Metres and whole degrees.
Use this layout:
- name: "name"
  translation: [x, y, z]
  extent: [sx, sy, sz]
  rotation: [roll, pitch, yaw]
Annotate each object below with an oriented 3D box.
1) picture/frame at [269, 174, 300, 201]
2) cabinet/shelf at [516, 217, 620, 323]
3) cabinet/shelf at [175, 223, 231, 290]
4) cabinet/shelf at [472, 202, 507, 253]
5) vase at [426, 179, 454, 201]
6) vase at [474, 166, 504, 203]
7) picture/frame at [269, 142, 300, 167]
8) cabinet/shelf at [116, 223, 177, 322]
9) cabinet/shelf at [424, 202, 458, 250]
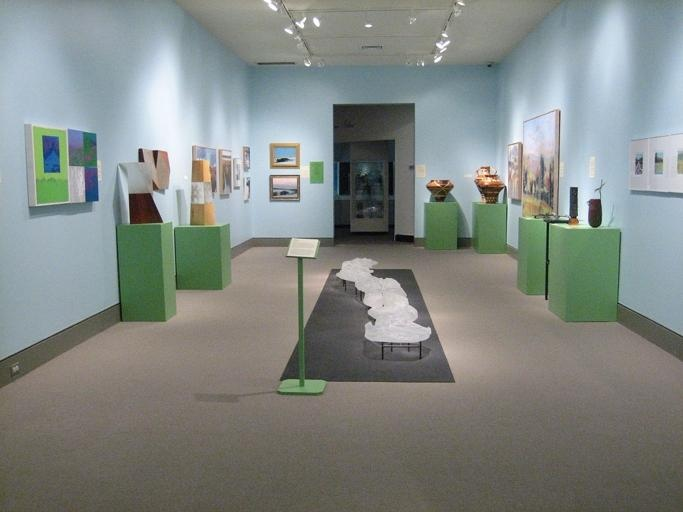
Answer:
- name: "picture/frame"
  translation: [-1.819, -2.183, 15.406]
  extent: [0.732, 0.703, 0.055]
  rotation: [0, 2, -2]
- name: "cabinet/shelf"
  translation: [3.595, 0.242, 7.636]
  extent: [0.453, 0.971, 1.509]
  rotation: [0, 6, 2]
- name: "cabinet/shelf"
  translation: [-2.626, -0.027, 9.792]
  extent: [1.081, 1.716, 1.154]
  rotation: [0, 10, -1]
- name: "cabinet/shelf"
  translation: [4.213, -0.787, 13.748]
  extent: [0.639, 1.327, 1.310]
  rotation: [0, 3, 3]
- name: "vase"
  translation: [2.976, -1.993, 14.689]
  extent: [0.652, 0.565, 0.693]
  rotation: [-1, 5, 0]
- name: "vase"
  translation: [4.214, -2.003, 13.916]
  extent: [0.755, 0.995, 0.402]
  rotation: [2, 9, 17]
- name: "picture/frame"
  translation: [-1.773, -3.189, 15.266]
  extent: [0.652, 0.610, 0.052]
  rotation: [1, 4, -1]
- name: "cabinet/shelf"
  translation: [-2.942, 0.261, 7.358]
  extent: [0.801, 1.479, 0.429]
  rotation: [-5, 9, -26]
- name: "cabinet/shelf"
  translation: [2.950, -0.951, 15.243]
  extent: [1.129, 1.847, 1.191]
  rotation: [1, 7, 6]
